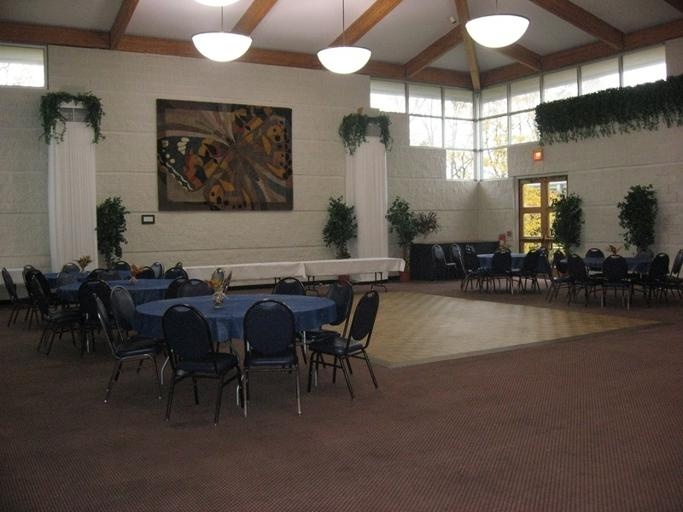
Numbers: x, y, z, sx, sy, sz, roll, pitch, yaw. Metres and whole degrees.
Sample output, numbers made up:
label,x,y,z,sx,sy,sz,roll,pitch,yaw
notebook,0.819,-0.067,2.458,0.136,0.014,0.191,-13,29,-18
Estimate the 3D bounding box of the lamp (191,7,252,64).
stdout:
label,x,y,z,sx,sy,sz,roll,pitch,yaw
lamp,-1.813,-3.215,7.564,0.837,0.379,0.493,-1,5,-6
